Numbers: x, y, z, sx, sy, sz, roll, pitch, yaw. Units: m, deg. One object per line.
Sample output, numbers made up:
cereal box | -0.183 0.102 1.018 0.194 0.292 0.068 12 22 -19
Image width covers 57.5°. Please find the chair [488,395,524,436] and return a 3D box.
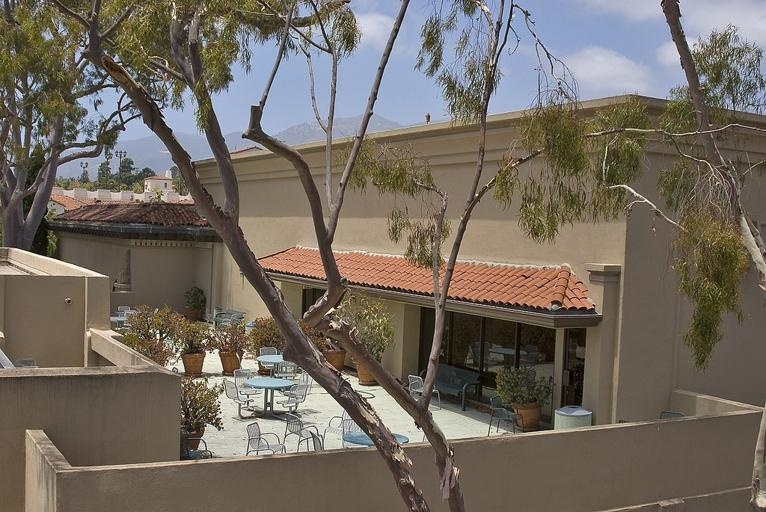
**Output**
chair | 3.079 4.089 17.794 0.876 1.400 0.873 -1 1 34

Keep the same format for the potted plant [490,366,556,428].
potted plant | 3.695 3.627 17.992 1.256 1.979 1.665 -6 3 -34

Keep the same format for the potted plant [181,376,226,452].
potted plant | -4.043 3.524 15.577 0.867 1.589 1.736 1 -6 -15
